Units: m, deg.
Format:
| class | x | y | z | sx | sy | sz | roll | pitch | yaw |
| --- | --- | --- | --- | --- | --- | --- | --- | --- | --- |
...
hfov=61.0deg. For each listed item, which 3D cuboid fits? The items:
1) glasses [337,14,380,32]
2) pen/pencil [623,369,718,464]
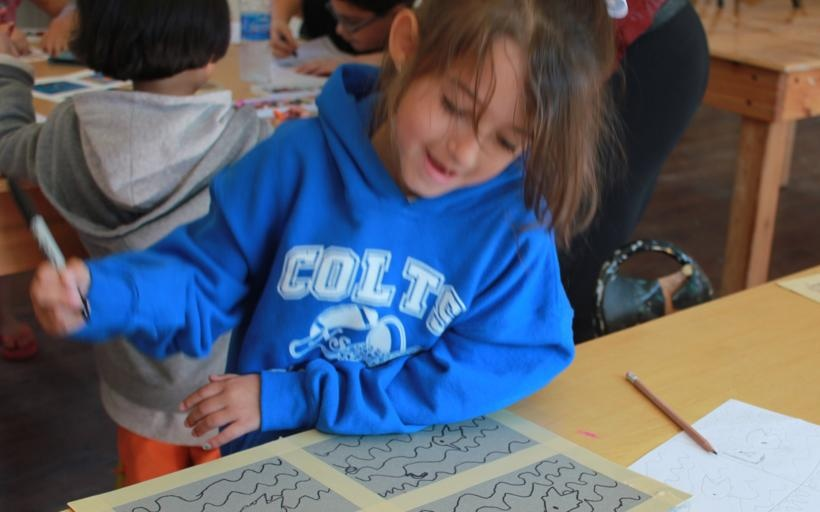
| class | x | y | z | sx | sy | sz | roll | pitch | yaw |
| --- | --- | --- | --- | --- | --- | --- | --- | --- | --- |
| glasses | -0.155 | -0.732 | 2.217 | 0.067 | 0.021 | 0.065 | -29 | 41 | -15 |
| pen/pencil | 0.435 | 0.273 | 1.165 | 0.021 | 0.023 | 0.197 | -41 | 45 | -7 |
